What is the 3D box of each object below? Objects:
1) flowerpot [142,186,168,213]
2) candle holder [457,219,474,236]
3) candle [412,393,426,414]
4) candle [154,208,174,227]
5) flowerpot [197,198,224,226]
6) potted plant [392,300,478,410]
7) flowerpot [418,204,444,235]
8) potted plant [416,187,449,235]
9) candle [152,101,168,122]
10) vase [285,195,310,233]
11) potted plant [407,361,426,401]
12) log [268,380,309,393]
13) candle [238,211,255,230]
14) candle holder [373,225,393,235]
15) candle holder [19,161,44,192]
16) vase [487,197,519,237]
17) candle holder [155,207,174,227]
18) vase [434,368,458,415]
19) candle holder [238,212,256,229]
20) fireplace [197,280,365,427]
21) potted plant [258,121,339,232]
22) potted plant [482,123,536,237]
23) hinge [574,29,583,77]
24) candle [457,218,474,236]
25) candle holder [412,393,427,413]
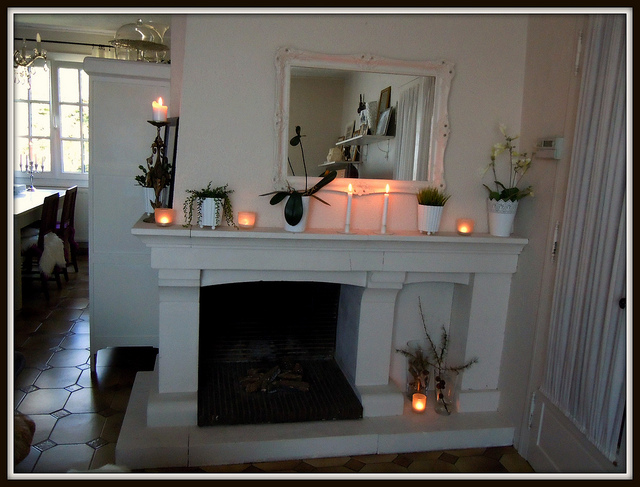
[{"bbox_3d":[-1.063,-0.303,3.110,0.174,0.193,0.170,-3,14,-21],"label":"flowerpot"},{"bbox_3d":[0.844,-0.102,2.840,0.088,0.104,0.092,2,9,-1],"label":"candle holder"},{"bbox_3d":[0.591,0.954,2.906,0.097,0.109,0.093,-2,6,-36],"label":"candle"},{"bbox_3d":[-0.852,-0.148,2.599,0.103,0.093,0.102,1,12,-4],"label":"candle"},{"bbox_3d":[-0.598,-0.180,2.657,0.138,0.166,0.141,-1,10,-8],"label":"flowerpot"},{"bbox_3d":[0.737,0.747,3.147,0.579,0.395,0.429,10,-10,-23],"label":"potted plant"},{"bbox_3d":[0.636,-0.159,2.787,0.165,0.193,0.175,-1,7,-18],"label":"flowerpot"},{"bbox_3d":[0.655,-0.192,2.777,0.197,0.267,0.152,2,12,0],"label":"potted plant"},{"bbox_3d":[-0.901,-0.761,2.750,0.095,0.154,0.104,-3,13,-16],"label":"candle"},{"bbox_3d":[-0.127,-0.164,2.629,0.128,0.192,0.096,1,12,-3],"label":"vase"},{"bbox_3d":[0.599,0.852,2.988,0.118,0.246,0.130,4,12,12],"label":"potted plant"},{"bbox_3d":[-0.191,0.868,2.920,0.176,0.051,0.092,-4,3,-10],"label":"log"},{"bbox_3d":[-0.406,-0.128,2.635,0.092,0.091,0.087,-1,5,-36],"label":"candle"},{"bbox_3d":[0.360,-0.091,2.742,0.112,0.054,0.138,3,12,4],"label":"candle holder"},{"bbox_3d":[-3.621,-0.876,6.061,0.266,0.366,0.695,-5,14,-30],"label":"candle holder"},{"bbox_3d":[1.024,-0.151,2.732,0.192,0.212,0.192,0,5,-32],"label":"vase"},{"bbox_3d":[-0.839,-0.146,2.585,0.095,0.095,0.090,-9,19,-40],"label":"candle holder"},{"bbox_3d":[0.774,0.948,3.017,0.168,0.272,0.169,-1,-14,20],"label":"vase"},{"bbox_3d":[-0.398,-0.133,2.634,0.085,0.074,0.087,2,11,-13],"label":"candle holder"},{"bbox_3d":[-0.261,0.638,2.913,0.937,0.686,0.626,-1,12,-13],"label":"fireplace"},{"bbox_3d":[-0.121,-0.368,2.621,0.435,0.594,0.180,2,12,0],"label":"potted plant"},{"bbox_3d":[1.067,-0.355,2.780,0.309,0.614,0.256,0,8,-16],"label":"potted plant"},{"bbox_3d":[1.254,-0.937,2.335,0.019,0.217,0.035,7,13,24],"label":"hinge"},{"bbox_3d":[0.839,-0.103,2.838,0.093,0.109,0.097,3,8,-3],"label":"candle"},{"bbox_3d":[0.590,0.961,2.885,0.090,0.105,0.096,4,6,30],"label":"candle holder"}]
